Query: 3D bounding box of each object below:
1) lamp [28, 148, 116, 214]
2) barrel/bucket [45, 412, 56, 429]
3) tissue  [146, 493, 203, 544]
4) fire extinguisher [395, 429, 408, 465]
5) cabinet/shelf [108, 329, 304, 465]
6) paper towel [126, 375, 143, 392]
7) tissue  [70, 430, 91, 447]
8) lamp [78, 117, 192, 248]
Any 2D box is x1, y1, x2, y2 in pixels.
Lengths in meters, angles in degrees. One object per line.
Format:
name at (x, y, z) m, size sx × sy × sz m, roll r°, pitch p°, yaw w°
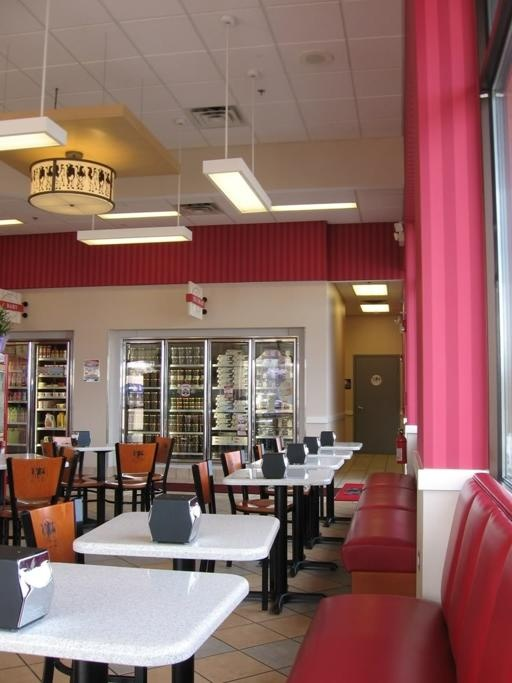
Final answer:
lamp at (-1.842, -1.639, 5.557) m, size 0.791 × 0.499 × 0.802 m, roll 2°, pitch 3°, yaw 42°
barrel/bucket at (-3.455, 1.343, 9.319) m, size 0.183 × 0.266 × 0.451 m, roll -3°, pitch -2°, yaw -22°
tissue  at (-0.264, 0.569, 1.836) m, size 0.140 × 0.131 × 0.152 m, roll 1°, pitch -2°, yaw 10°
fire extinguisher at (2.018, 1.491, 7.693) m, size 0.117 × 0.328 × 0.271 m, roll -4°, pitch -2°, yaw 10°
cabinet/shelf at (-0.648, 0.813, 8.451) m, size 2.113 × 1.900 × 0.691 m, roll -1°, pitch -6°, yaw 11°
paper towel at (-2.022, 0.713, 9.302) m, size 0.241 × 0.241 × 0.130 m, roll -1°, pitch -16°, yaw 7°
tissue  at (-1.859, 1.023, 5.896) m, size 0.190 × 0.178 × 0.173 m, roll 0°, pitch -14°, yaw -3°
lamp at (-1.343, -1.841, 6.307) m, size 1.337 × 1.102 × 0.404 m, roll 1°, pitch 2°, yaw 10°
